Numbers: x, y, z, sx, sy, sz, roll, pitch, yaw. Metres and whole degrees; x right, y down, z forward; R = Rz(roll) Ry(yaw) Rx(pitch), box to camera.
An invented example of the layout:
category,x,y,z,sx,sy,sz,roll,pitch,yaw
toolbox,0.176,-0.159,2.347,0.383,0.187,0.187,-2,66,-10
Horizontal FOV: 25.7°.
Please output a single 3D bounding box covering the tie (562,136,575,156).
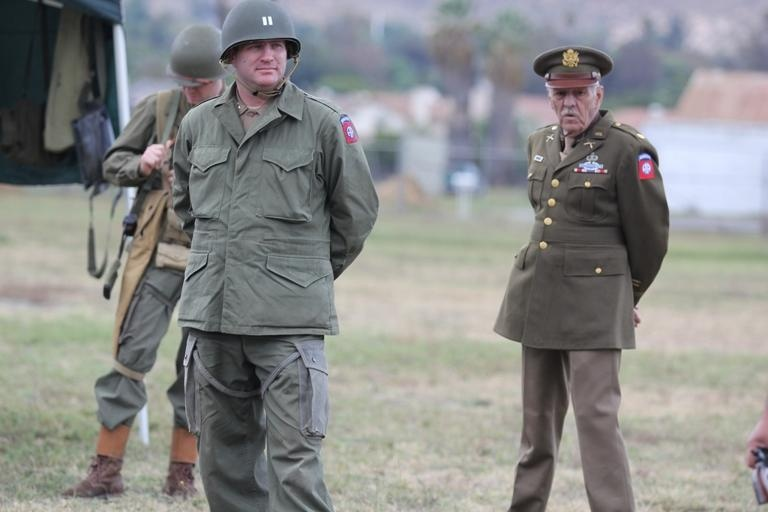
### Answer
category,x,y,z,sx,sy,sz,roll,pitch,yaw
tie,2.276,-1.343,20.806,0.163,0.235,0.120,20,1,39
